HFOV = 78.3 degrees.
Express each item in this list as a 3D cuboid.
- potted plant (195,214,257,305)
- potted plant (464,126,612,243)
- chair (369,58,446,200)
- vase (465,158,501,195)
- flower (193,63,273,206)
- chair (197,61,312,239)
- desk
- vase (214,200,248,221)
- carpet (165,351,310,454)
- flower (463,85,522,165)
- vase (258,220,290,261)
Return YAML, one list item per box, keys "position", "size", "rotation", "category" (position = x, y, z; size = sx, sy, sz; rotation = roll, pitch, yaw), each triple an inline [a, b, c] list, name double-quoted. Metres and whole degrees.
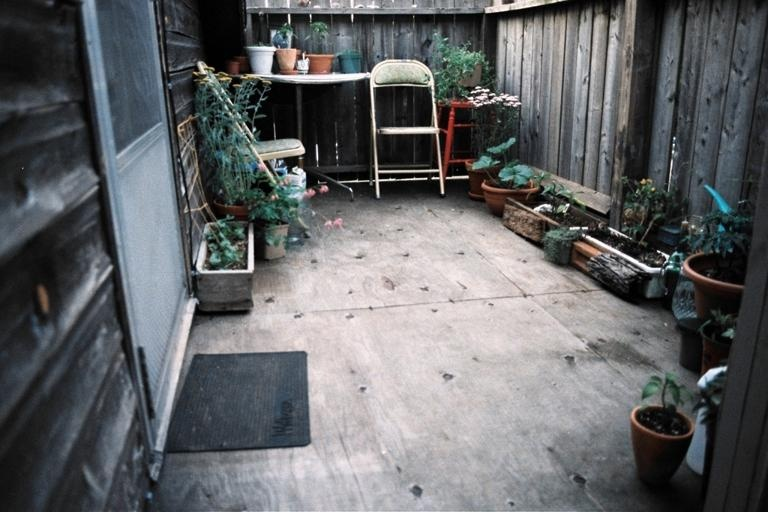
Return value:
- position: [-1.066, 0.027, 3.244]
  size: [0.360, 0.282, 0.930]
  rotation: [1, 24, -18]
  category: "potted plant"
- position: [1.384, -0.576, 4.217]
  size: [1.132, 0.531, 0.817]
  rotation: [18, 10, -33]
  category: "potted plant"
- position: [0.262, -1.487, 5.365]
  size: [0.844, 1.442, 1.028]
  rotation: [-2, 20, -1]
  category: "chair"
- position: [1.029, -0.810, 5.006]
  size: [0.357, 0.304, 0.351]
  rotation: [-1, 30, -3]
  category: "vase"
- position: [-1.206, -0.934, 3.723]
  size: [0.693, 1.015, 0.588]
  rotation: [-5, 7, 21]
  category: "flower"
- position: [-1.138, -1.045, 3.685]
  size: [0.482, 0.912, 0.749]
  rotation: [-8, 21, -19]
  category: "chair"
- position: [-0.904, -1.307, 5.119]
  size: [1.236, 1.218, 1.215]
  rotation: [-6, 8, -38]
  category: "desk"
- position: [-1.173, -0.356, 3.651]
  size: [0.185, 0.121, 0.184]
  rotation: [-5, 15, -28]
  category: "vase"
- position: [-0.640, 0.647, 2.182]
  size: [0.597, 0.068, 0.678]
  rotation: [-4, 20, -7]
  category: "carpet"
- position: [1.053, -1.438, 5.260]
  size: [0.564, 0.707, 0.517]
  rotation: [2, 23, -23]
  category: "flower"
- position: [-0.856, -0.151, 3.704]
  size: [0.233, 0.315, 0.316]
  rotation: [-3, 19, -18]
  category: "vase"
